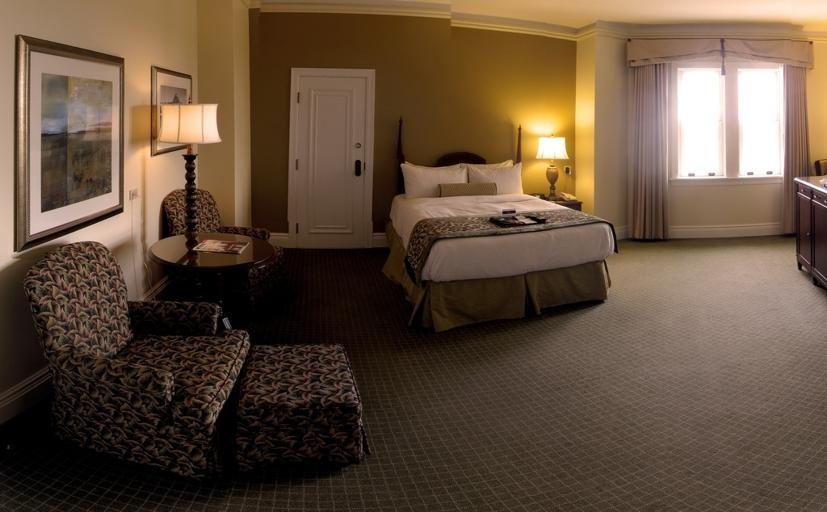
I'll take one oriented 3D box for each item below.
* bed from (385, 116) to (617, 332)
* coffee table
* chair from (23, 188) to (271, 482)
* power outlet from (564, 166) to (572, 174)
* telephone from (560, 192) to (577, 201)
[{"bbox_3d":[0.917,-0.596,7.014,2.280,1.742,3.068,-6,16,-10],"label":"bed"},{"bbox_3d":[-1.914,0.359,5.129,1.001,0.677,0.992,3,23,-14],"label":"coffee table"},{"bbox_3d":[-2.099,0.460,4.257,1.776,1.751,1.364,8,21,-1],"label":"chair"},{"bbox_3d":[2.491,-1.417,8.754,0.061,0.086,0.115,15,-2,23],"label":"power outlet"},{"bbox_3d":[2.373,-0.913,8.401,0.199,0.077,0.261,0,16,-3],"label":"telephone"}]
